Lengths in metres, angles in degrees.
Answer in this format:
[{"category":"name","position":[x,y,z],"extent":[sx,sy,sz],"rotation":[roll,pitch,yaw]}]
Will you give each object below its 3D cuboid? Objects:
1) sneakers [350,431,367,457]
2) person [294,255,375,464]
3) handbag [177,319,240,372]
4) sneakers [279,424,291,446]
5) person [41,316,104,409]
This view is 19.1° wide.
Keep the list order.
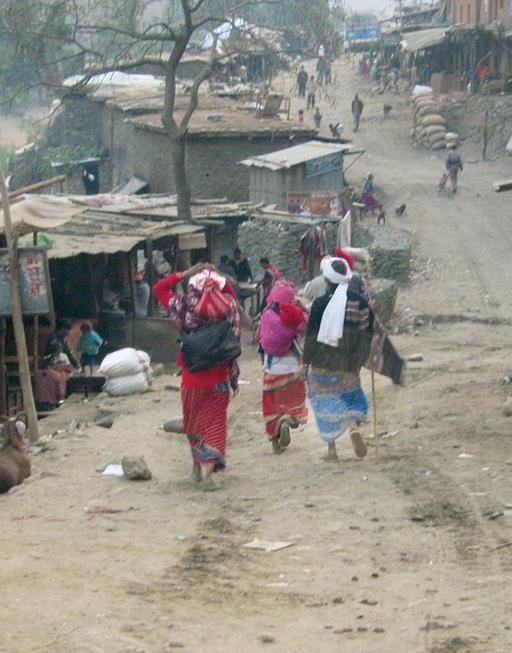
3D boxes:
[{"category":"sneakers","position":[1.250,1.429,18.574],"extent":[0.133,0.403,0.154],"rotation":[-18,-8,7]},{"category":"person","position":[1.030,0.388,18.669],"extent":[0.893,2.445,0.527],"rotation":[-2,8,5]},{"category":"handbag","position":[-0.561,0.235,18.148],"extent":[0.628,0.604,0.295],"rotation":[-20,0,-11]},{"category":"sneakers","position":[0.351,1.357,19.159],"extent":[0.137,0.337,0.157],"rotation":[-6,9,-18]},{"category":"person","position":[-2.733,0.562,22.250],"extent":[0.519,0.890,1.417],"rotation":[-8,28,6]}]
